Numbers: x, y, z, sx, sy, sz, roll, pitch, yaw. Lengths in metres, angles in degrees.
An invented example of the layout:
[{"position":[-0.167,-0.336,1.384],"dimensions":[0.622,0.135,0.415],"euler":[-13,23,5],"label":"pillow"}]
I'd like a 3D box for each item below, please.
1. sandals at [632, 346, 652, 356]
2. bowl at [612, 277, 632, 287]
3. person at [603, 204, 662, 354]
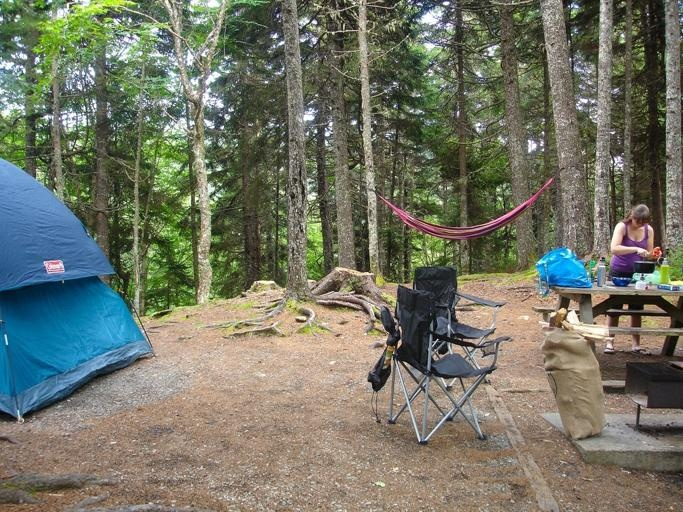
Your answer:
[{"position":[4.346,1.379,8.962],"dimensions":[0.253,0.095,0.124],"euler":[-1,-1,31],"label":"sandals"},{"position":[3.643,0.341,8.074],"dimensions":[0.203,0.114,0.264],"euler":[2,5,23],"label":"bowl"},{"position":[4.086,0.305,8.636],"dimensions":[0.834,1.973,0.982],"euler":[2,2,-9],"label":"person"}]
